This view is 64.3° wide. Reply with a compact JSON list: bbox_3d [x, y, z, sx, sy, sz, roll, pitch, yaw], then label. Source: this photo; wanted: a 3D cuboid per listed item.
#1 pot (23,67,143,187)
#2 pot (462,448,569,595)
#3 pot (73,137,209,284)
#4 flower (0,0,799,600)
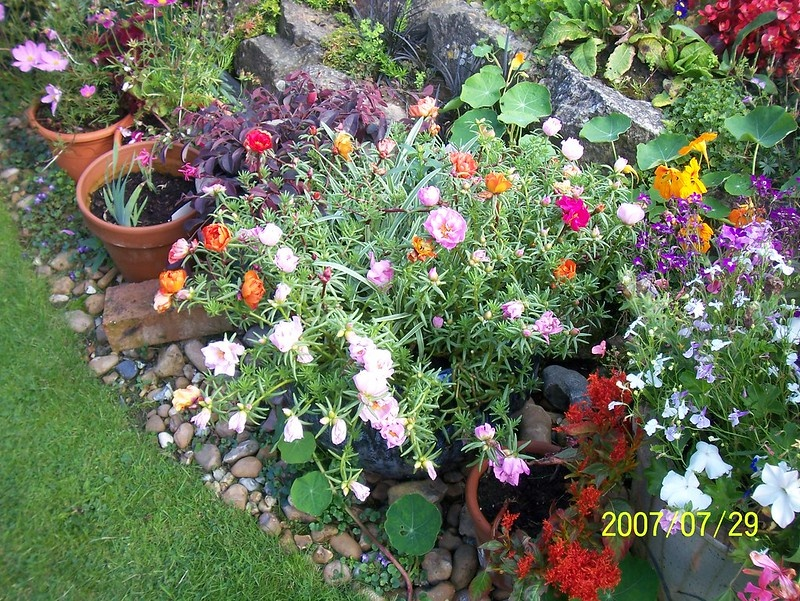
[{"bbox_3d":[-1.778,-0.905,3.689,0.512,0.409,0.563,6,54,-3],"label":"pot"},{"bbox_3d":[0.377,0.710,2.331,0.284,0.517,0.492,21,56,4],"label":"pot"},{"bbox_3d":[-1.302,-0.440,3.399,0.645,0.546,0.731,11,54,-1],"label":"pot"},{"bbox_3d":[0.008,0.034,2.547,1.836,0.792,2.350,-3,102,-8],"label":"flower"}]
